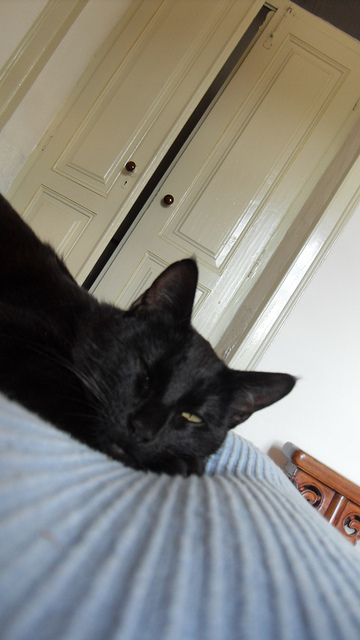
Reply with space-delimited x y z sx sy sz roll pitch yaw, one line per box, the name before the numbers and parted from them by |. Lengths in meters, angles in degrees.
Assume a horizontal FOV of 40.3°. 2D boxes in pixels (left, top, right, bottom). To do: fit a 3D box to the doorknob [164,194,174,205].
doorknob | -0.028 -0.312 1.263 0.022 0.023 0.021 -6 9 -19
